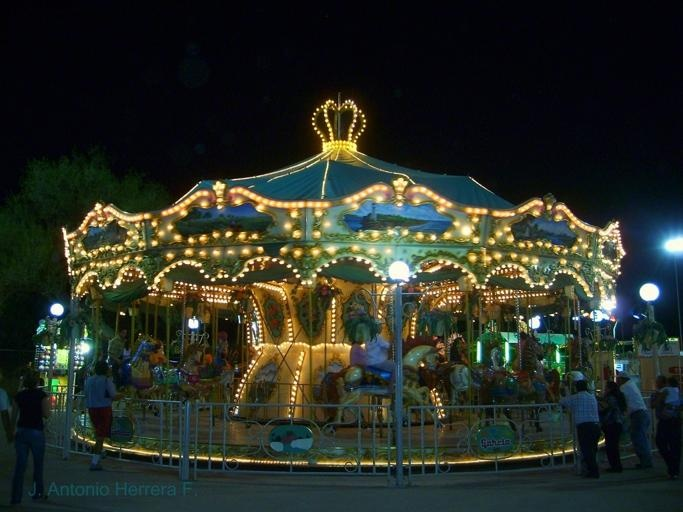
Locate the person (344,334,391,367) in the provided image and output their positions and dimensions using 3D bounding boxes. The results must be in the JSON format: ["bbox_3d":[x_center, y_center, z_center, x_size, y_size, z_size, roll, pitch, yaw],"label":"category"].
[{"bbox_3d":[0.615,1.954,15.533,0.908,0.796,0.546,-4,-6,40],"label":"person"}]

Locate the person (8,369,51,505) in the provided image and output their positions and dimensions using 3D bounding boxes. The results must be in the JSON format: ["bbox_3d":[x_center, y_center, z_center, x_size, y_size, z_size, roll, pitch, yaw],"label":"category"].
[{"bbox_3d":[-4.829,2.827,12.103,0.582,2.007,0.856,6,-18,-20],"label":"person"}]

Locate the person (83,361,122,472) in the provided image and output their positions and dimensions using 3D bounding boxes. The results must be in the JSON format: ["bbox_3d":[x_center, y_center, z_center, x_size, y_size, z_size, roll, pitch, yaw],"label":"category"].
[{"bbox_3d":[-4.391,2.848,14.127,0.570,2.027,0.880,5,-18,-17],"label":"person"}]

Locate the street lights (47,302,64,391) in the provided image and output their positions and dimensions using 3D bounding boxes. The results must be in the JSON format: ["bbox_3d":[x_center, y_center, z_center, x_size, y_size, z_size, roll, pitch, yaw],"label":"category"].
[{"bbox_3d":[-6.992,2.093,18.939,0.409,2.080,0.398,1,-4,-40],"label":"street lights"}]

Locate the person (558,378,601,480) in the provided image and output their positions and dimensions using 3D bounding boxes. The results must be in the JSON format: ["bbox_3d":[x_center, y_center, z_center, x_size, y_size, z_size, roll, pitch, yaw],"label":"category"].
[{"bbox_3d":[4.442,3.092,14.282,0.618,1.965,1.526,-6,-18,17],"label":"person"}]

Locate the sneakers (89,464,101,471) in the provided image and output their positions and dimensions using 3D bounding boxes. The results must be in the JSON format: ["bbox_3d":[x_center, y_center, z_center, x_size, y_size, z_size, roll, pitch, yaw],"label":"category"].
[{"bbox_3d":[-4.364,3.776,13.862,0.097,0.082,0.182,1,-3,7],"label":"sneakers"}]

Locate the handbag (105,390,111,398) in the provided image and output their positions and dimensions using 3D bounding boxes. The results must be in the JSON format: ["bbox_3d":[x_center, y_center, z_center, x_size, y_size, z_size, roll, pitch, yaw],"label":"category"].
[{"bbox_3d":[-4.185,2.491,13.949,0.111,0.115,0.110,10,-13,-32],"label":"handbag"}]
